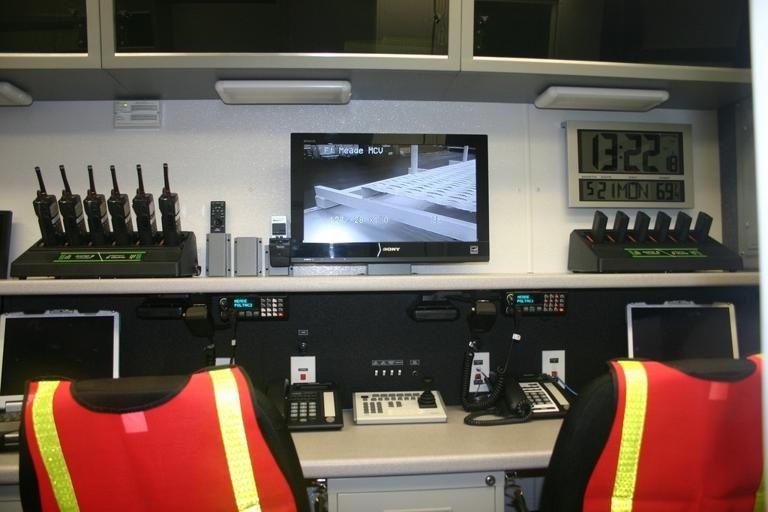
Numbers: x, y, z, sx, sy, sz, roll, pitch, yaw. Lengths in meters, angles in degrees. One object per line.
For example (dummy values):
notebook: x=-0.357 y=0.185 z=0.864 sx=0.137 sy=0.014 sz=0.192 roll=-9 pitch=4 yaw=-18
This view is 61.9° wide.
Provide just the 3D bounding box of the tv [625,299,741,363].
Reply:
tv: x=1.425 y=0.358 z=3.073 sx=0.477 sy=0.272 sz=0.273 roll=-1 pitch=3 yaw=25

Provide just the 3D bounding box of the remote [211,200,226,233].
remote: x=-0.801 y=-0.188 z=3.061 sx=0.069 sy=0.149 sz=0.055 roll=-3 pitch=3 yaw=-10

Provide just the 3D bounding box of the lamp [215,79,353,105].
lamp: x=-0.468 y=-0.752 z=2.953 sx=0.491 sy=0.083 sz=0.108 roll=-1 pitch=13 yaw=-2

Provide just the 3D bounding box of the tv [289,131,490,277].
tv: x=0.019 y=-0.263 z=3.020 sx=0.740 sy=0.439 sz=0.032 roll=1 pitch=-9 yaw=-6
